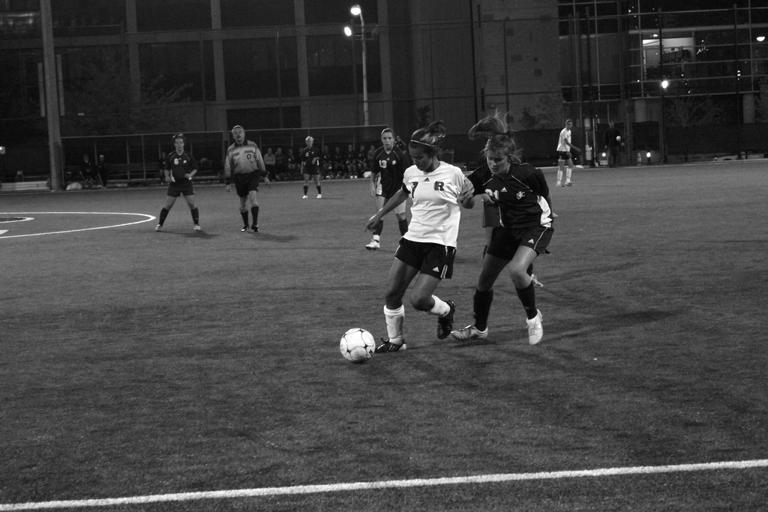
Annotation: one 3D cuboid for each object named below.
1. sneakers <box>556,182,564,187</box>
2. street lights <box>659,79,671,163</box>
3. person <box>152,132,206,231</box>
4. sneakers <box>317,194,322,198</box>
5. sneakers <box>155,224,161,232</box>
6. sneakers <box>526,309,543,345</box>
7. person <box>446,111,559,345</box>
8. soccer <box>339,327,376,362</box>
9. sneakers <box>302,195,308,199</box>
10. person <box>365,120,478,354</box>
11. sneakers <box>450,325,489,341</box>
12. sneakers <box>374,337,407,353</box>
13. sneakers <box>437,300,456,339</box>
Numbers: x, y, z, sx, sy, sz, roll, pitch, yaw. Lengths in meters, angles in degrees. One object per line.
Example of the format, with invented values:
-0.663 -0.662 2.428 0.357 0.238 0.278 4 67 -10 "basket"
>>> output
7.479 -3.036 30.103 0.328 0.241 0.126 -10 21 -1 "sneakers"
18.012 -8.775 45.529 0.517 5.326 0.872 0 6 23 "street lights"
-5.473 -1.895 18.364 1.146 2.508 1.358 -5 6 -17 "person"
-2.754 -2.482 29.633 0.134 0.160 0.364 -1 3 -3 "sneakers"
-5.874 -0.706 18.297 0.113 0.118 0.253 2 1 -12 "sneakers"
1.575 0.753 7.380 0.153 0.315 0.290 -2 6 10 "sneakers"
1.225 -0.271 7.474 1.074 2.463 1.098 2 0 13 "person"
-0.276 0.873 6.965 0.293 0.320 0.306 -6 -5 -1 "soccer"
-3.389 -2.472 29.683 0.372 0.173 0.131 5 7 28 "sneakers"
0.404 -0.198 7.304 1.006 2.311 0.628 -2 6 5 "person"
0.910 0.849 7.575 0.378 0.187 0.157 1 5 -4 "sneakers"
0.047 0.934 7.279 0.361 0.159 0.128 -1 1 -5 "sneakers"
0.683 0.720 7.572 0.145 0.461 0.189 11 20 26 "sneakers"
